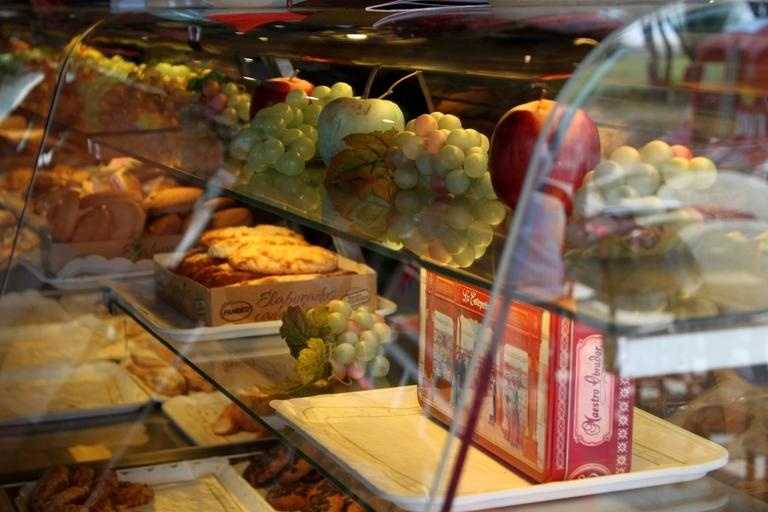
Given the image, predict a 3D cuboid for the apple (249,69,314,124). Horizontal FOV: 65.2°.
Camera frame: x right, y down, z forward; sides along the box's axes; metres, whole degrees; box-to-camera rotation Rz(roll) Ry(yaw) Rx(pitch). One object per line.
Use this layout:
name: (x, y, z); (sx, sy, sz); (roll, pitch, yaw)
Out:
apple: (-0.267, -0.403, 1.517); (0.144, 0.111, 0.126); (-4, 22, -9)

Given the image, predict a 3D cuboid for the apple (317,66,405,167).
apple: (-0.052, -0.287, 1.246); (0.153, 0.150, 0.137); (-3, 17, -12)

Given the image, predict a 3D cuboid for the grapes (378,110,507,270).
grapes: (0.094, -0.123, 0.947); (0.179, 0.183, 0.404); (1, 16, 0)

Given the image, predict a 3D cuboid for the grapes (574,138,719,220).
grapes: (0.318, -0.107, 0.738); (0.180, 0.068, 0.113); (0, 51, 6)

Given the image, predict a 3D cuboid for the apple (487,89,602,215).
apple: (0.234, -0.154, 0.896); (0.170, 0.157, 0.149); (5, 27, 10)

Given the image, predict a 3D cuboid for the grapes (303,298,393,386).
grapes: (-0.077, 0.189, 1.378); (0.198, 0.124, 0.213); (-1, 16, -6)
